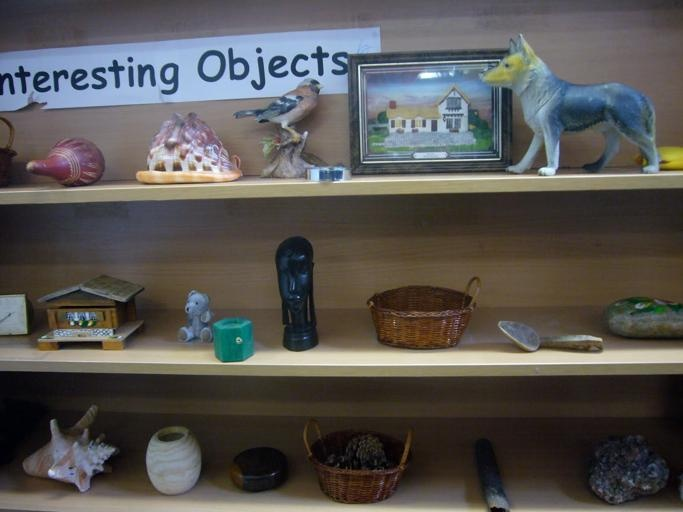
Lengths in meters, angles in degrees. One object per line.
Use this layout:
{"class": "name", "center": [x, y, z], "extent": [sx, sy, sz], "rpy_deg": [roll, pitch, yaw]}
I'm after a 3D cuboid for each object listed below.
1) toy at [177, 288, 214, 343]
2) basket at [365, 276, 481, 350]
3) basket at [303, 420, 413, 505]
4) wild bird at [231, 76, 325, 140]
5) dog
{"class": "toy", "center": [-0.479, 0.200, 2.210], "extent": [0.108, 0.166, 0.092], "rpy_deg": [3, 9, 13]}
{"class": "basket", "center": [0.261, 0.164, 2.149], "extent": [0.335, 0.207, 0.274], "rpy_deg": [-1, 16, -9]}
{"class": "basket", "center": [0.064, 0.638, 2.205], "extent": [0.267, 0.187, 0.297], "rpy_deg": [2, 3, 6]}
{"class": "wild bird", "center": [-0.174, -0.501, 2.189], "extent": [0.373, 0.259, 0.140], "rpy_deg": [0, 9, -5]}
{"class": "dog", "center": [0.694, -0.465, 2.254], "extent": [0.735, 0.628, 0.293], "rpy_deg": [2, 2, 8]}
